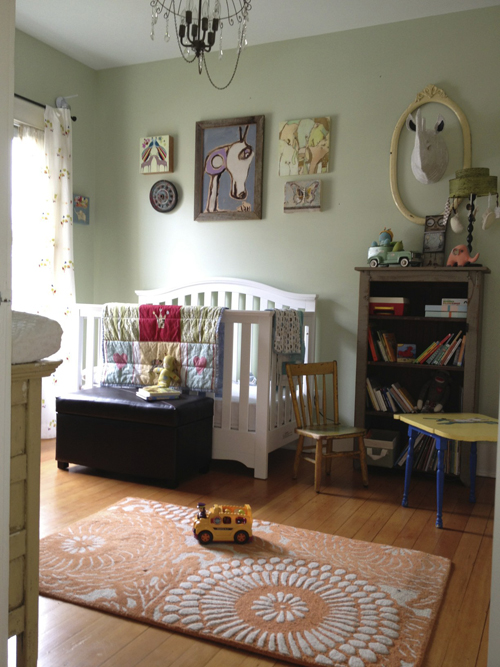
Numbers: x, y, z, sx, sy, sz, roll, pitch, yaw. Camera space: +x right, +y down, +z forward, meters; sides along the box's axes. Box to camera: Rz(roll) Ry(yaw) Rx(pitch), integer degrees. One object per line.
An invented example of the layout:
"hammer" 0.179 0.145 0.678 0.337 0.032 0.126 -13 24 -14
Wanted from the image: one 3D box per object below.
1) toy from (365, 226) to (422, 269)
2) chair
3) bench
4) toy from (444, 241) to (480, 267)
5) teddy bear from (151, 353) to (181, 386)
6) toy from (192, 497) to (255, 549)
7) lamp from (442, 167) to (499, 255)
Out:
"toy" 0.846 -0.508 3.238 0.284 0.211 0.350 2 1 17
"chair" 0.452 0.481 3.177 0.442 0.580 1.006 2 1 9
"bench" -0.635 0.551 2.997 0.768 0.300 0.403 2 1 25
"toy" 1.167 -0.428 3.022 0.154 0.115 0.111 2 1 3
"teddy bear" -0.467 0.206 3.084 0.156 0.252 0.127 2 -3 21
"toy" -0.109 0.731 2.122 0.186 0.126 0.118 2 -2 1
"lamp" 1.243 -0.699 3.057 0.280 0.449 0.260 2 1 19
